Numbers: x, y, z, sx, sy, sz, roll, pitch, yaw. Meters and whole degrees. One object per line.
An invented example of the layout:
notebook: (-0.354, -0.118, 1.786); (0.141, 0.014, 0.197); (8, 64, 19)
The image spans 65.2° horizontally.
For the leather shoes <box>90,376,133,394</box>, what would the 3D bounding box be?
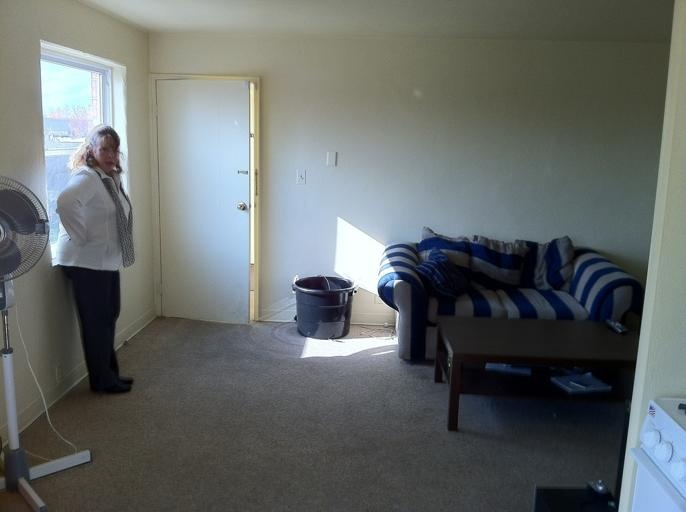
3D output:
leather shoes: (-1.494, 0.841, 3.489); (0.177, 0.070, 0.114); (-4, 10, -18)

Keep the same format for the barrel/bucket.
barrel/bucket: (-0.163, 0.418, 4.446); (0.491, 0.444, 0.454); (2, 12, 0)

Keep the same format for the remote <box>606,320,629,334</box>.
remote: (1.836, 0.471, 3.600); (0.058, 0.035, 0.113); (-3, 12, 4)

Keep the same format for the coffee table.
coffee table: (1.217, 0.737, 3.468); (1.192, 0.485, 0.699); (2, 12, -1)
